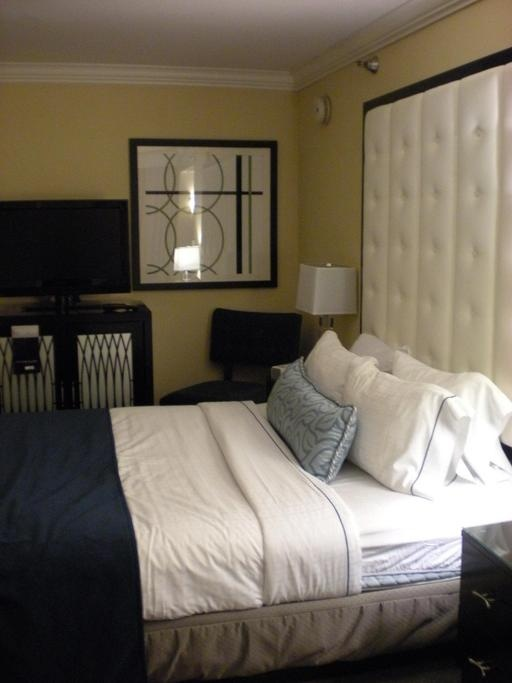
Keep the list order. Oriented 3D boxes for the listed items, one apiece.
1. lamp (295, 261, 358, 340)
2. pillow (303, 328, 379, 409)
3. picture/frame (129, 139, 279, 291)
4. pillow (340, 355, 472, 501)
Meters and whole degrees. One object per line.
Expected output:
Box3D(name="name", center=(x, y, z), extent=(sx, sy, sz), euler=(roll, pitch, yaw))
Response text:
Box3D(name="lamp", center=(0.422, -0.287, 3.390), extent=(0.301, 0.307, 0.314), euler=(-2, 8, -15))
Box3D(name="pillow", center=(0.361, 0.124, 2.595), extent=(0.152, 0.187, 0.438), euler=(-7, 30, -25))
Box3D(name="picture/frame", center=(-0.414, -0.930, 4.095), extent=(0.825, 1.126, 0.043), euler=(-1, 9, -10))
Box3D(name="pillow", center=(0.450, 0.297, 2.032), extent=(0.204, 0.396, 0.552), euler=(6, 11, -32))
